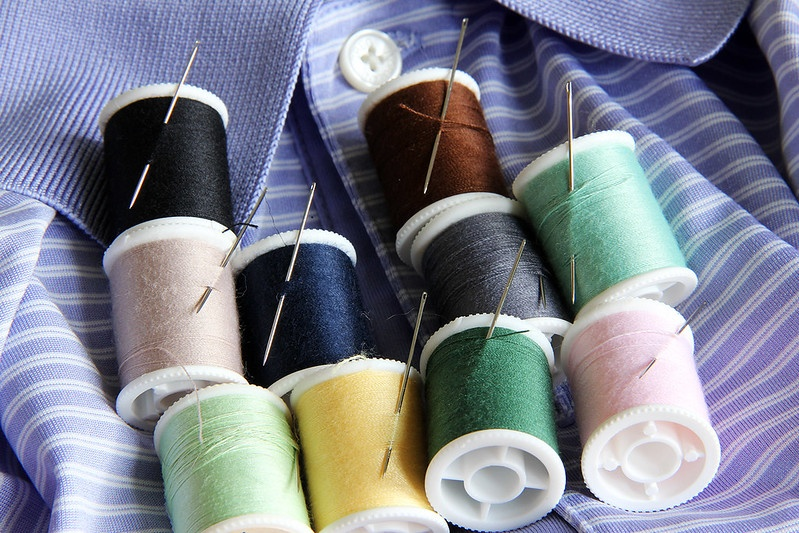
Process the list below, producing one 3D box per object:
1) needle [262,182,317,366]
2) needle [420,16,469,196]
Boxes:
[{"bbox_3d":[-0.440,0.056,3.850,0.032,0.813,0.042,13,-19,19],"label":"needle"},{"bbox_3d":[0.183,-0.659,4.122,0.032,0.926,0.041,12,-3,-4],"label":"needle"}]
